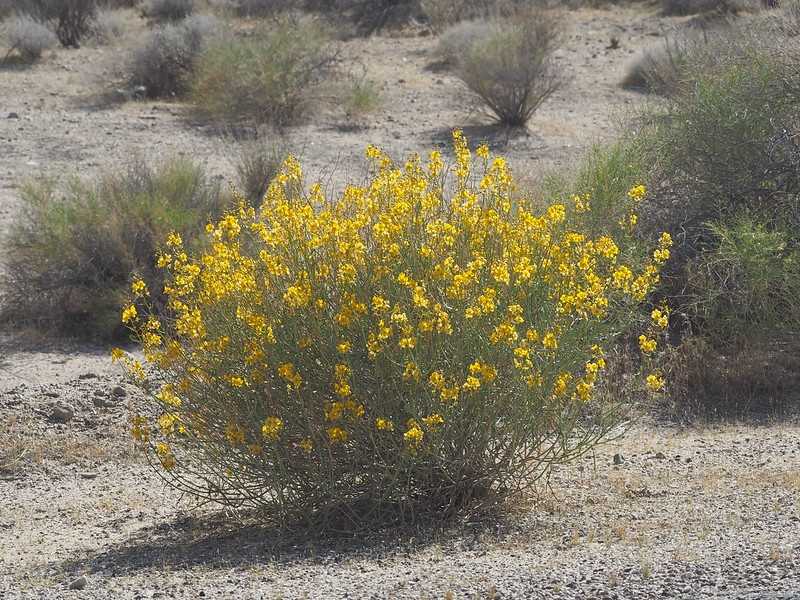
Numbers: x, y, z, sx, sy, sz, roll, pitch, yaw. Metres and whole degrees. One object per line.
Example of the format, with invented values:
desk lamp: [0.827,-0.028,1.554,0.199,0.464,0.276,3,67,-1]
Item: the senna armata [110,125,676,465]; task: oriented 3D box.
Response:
senna armata: [-0.020,0.010,16.345,4.216,2.857,4.050,-2,6,16]
